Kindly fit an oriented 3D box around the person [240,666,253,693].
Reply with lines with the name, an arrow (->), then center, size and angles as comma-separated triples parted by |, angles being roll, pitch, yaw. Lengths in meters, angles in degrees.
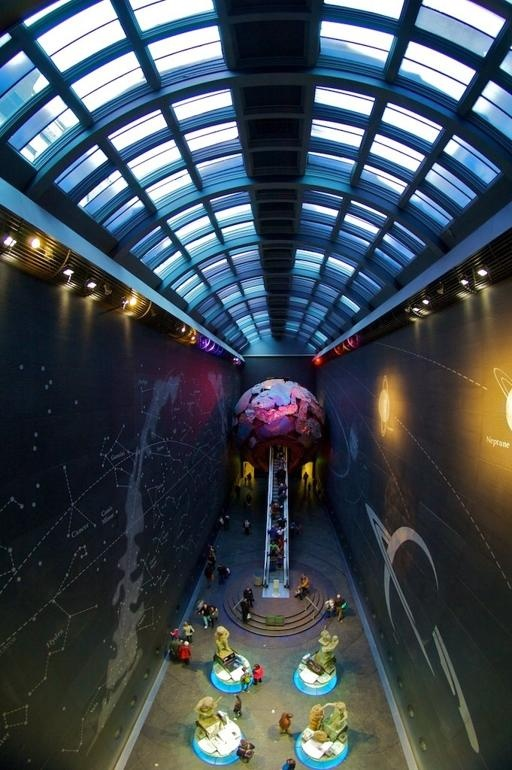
person -> -0.283, 7.527, 10.206 | 0.329, 0.484, 0.793 | 0, 2, -1
